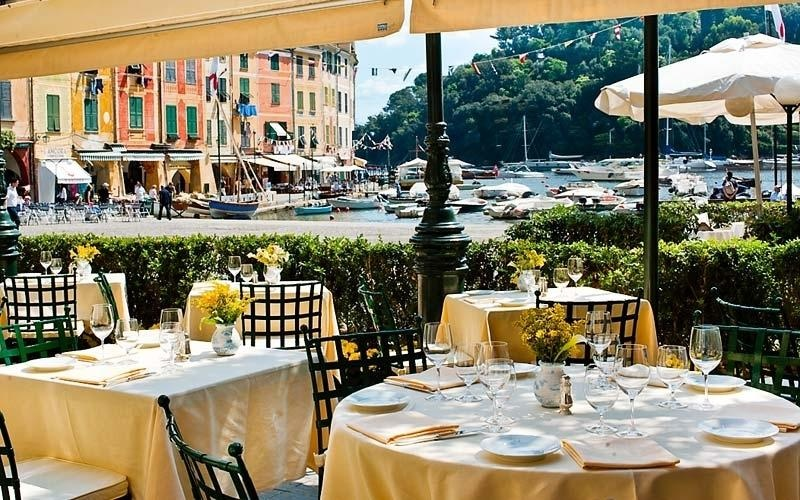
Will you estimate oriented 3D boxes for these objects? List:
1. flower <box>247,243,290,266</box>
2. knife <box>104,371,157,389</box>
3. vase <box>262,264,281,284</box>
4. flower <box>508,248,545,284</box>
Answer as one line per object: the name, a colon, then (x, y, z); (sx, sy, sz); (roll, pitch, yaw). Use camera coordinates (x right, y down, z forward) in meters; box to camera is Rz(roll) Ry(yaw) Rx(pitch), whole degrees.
flower: (-1.397, 0.072, 10.538); (0.296, 0.290, 0.346); (3, 1, 5)
knife: (-2.081, 1.012, 7.348); (0.107, 0.064, 0.350); (26, 20, 38)
vase: (-1.401, 0.264, 10.445); (0.176, 0.218, 0.138); (5, -6, -33)
flower: (1.390, 0.127, 9.993); (0.387, 0.567, 0.366); (0, 1, -12)
